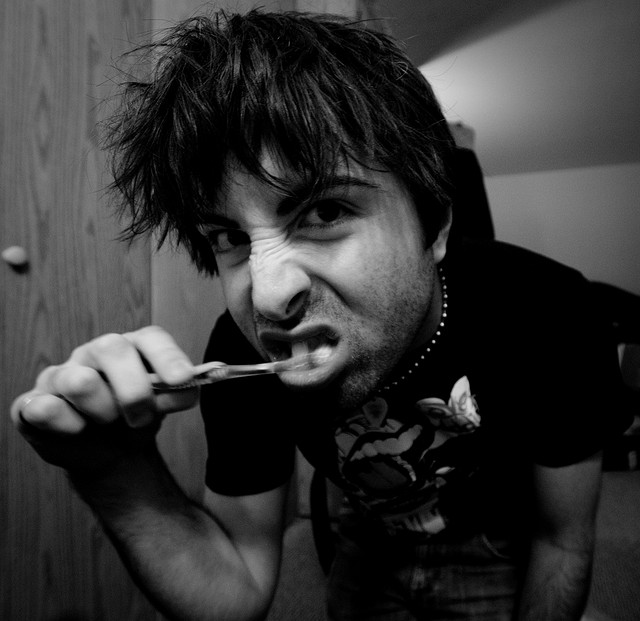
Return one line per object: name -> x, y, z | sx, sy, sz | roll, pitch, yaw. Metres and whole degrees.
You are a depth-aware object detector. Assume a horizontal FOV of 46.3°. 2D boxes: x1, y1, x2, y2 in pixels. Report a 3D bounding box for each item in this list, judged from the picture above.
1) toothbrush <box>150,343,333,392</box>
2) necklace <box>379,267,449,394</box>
toothbrush -> -0.116, 0.090, 1.182 | 0.348, 0.047, 0.053 | -9, 9, -25
necklace -> 0.185, 0.037, 1.319 | 0.149, 0.200, 0.008 | 28, 4, 36
